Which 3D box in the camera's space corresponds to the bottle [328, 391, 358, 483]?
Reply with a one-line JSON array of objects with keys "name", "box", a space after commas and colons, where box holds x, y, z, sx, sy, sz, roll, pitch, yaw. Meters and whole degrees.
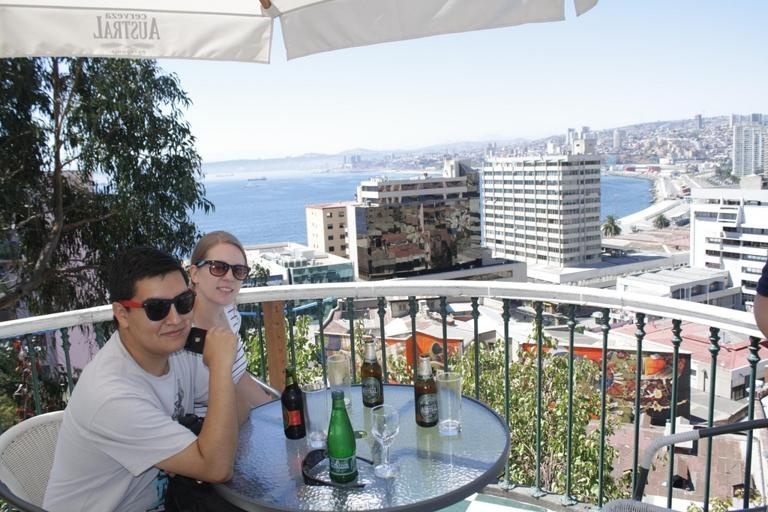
[{"name": "bottle", "box": [-0.174, 0.767, 2.576, 0.137, 0.378, 0.134, 3, -7, 0]}]

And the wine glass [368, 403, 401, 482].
[{"name": "wine glass", "box": [-0.001, 0.796, 2.641, 0.123, 0.300, 0.234, 3, -7, 0]}]
